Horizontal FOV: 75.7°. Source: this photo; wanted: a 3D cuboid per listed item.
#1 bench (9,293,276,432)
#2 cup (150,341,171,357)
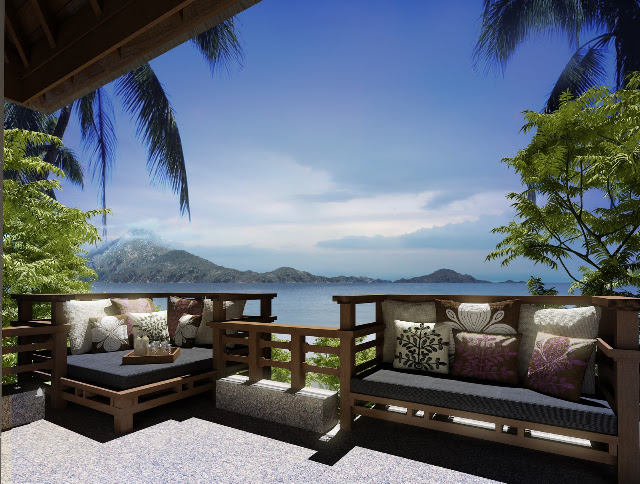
[{"bbox_3d":[-2.262,1.343,4.580,1.794,1.004,1.808,-2,-3,36],"label":"bench"},{"bbox_3d":[-1.701,1.129,4.371,0.167,0.115,0.155,1,-8,0],"label":"cup"}]
